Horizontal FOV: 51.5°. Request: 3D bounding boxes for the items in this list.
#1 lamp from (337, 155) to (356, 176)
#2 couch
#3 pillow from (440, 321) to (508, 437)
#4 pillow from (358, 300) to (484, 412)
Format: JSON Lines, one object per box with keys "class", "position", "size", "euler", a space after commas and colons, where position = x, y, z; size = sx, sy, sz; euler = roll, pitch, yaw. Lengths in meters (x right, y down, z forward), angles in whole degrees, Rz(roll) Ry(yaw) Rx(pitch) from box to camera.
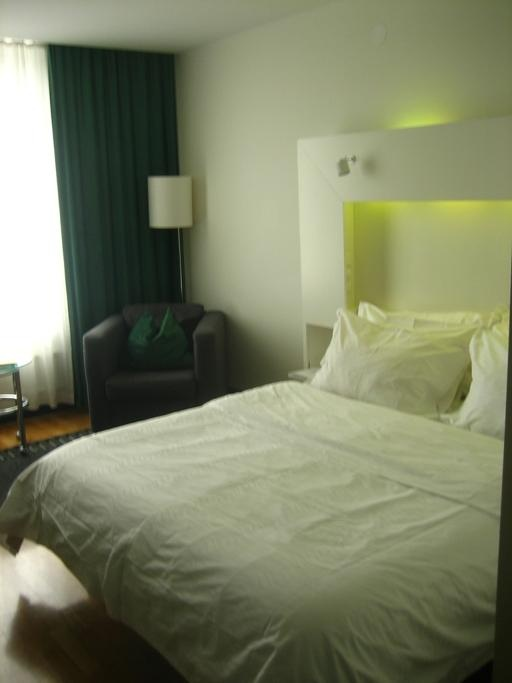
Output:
{"class": "lamp", "position": [0.468, -0.907, 2.749], "size": [0.088, 0.085, 0.026], "euler": [7, 2, 10]}
{"class": "couch", "position": [-0.641, 0.252, 3.805], "size": [0.775, 1.093, 0.854], "euler": [-2, 1, 2]}
{"class": "pillow", "position": [0.828, 0.161, 2.021], "size": [0.083, 0.349, 0.289], "euler": [10, -26, -7]}
{"class": "pillow", "position": [0.846, 0.075, 2.612], "size": [0.434, 0.155, 0.465], "euler": [-14, 30, 41]}
